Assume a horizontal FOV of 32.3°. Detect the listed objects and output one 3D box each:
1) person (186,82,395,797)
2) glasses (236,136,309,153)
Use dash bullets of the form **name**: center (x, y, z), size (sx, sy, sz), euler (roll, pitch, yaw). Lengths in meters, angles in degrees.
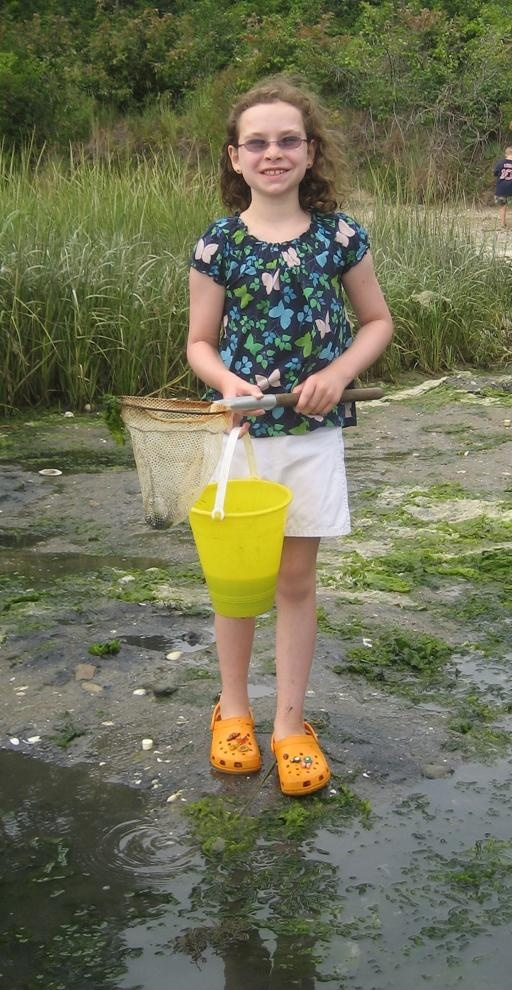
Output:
- **person**: center (0.088, -0.166, 2.117), size (0.522, 1.649, 0.451), euler (-7, 11, -22)
- **glasses**: center (0.034, -0.787, 1.996), size (0.147, 0.036, 0.060), euler (-2, 10, 2)
